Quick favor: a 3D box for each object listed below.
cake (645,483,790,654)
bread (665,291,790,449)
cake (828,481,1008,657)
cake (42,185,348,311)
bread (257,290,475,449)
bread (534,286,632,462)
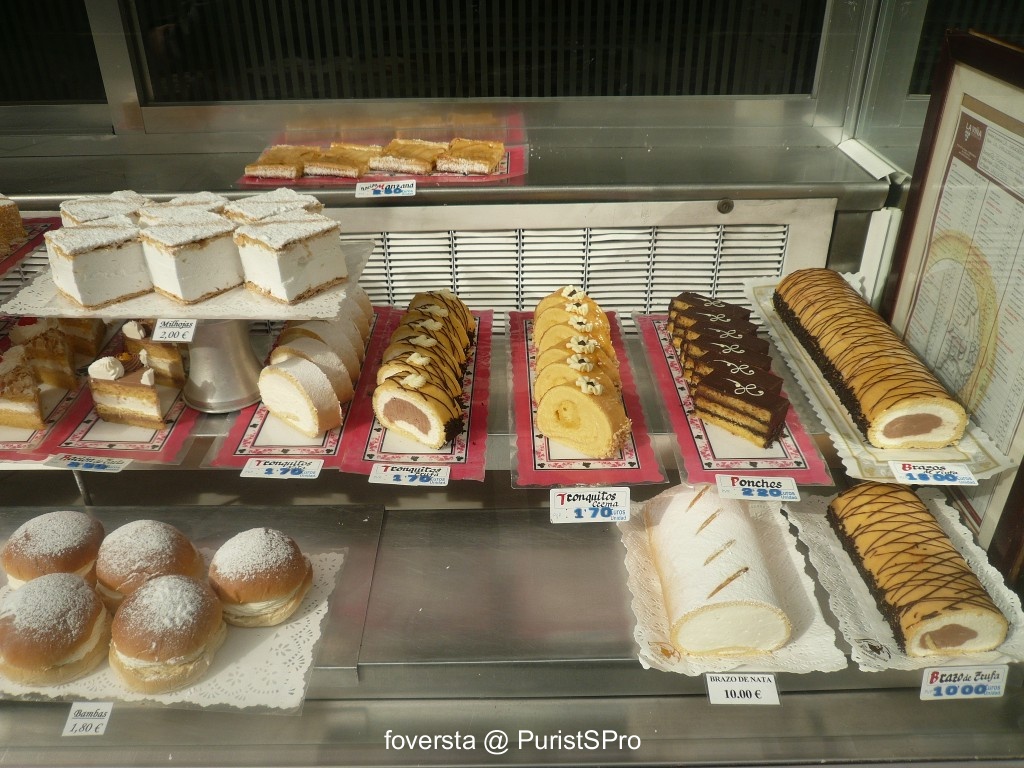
[{"bbox_3d":[0.428,0.428,1.499,0.364,0.213,0.334,-4,49,5],"label":"cake"},{"bbox_3d":[0.560,-0.027,1.695,0.259,0.108,0.516,-4,29,-2],"label":"bread"},{"bbox_3d":[0.879,0.408,1.423,0.373,0.165,0.427,-4,34,-1],"label":"cake"},{"bbox_3d":[-0.709,-0.374,1.481,0.461,0.098,0.458,-22,38,-40],"label":"cake"},{"bbox_3d":[-0.368,-0.026,1.645,0.552,0.145,0.438,3,35,0],"label":"bread"},{"bbox_3d":[0.178,-0.017,1.664,0.308,0.191,0.554,-1,36,3],"label":"bread"}]
